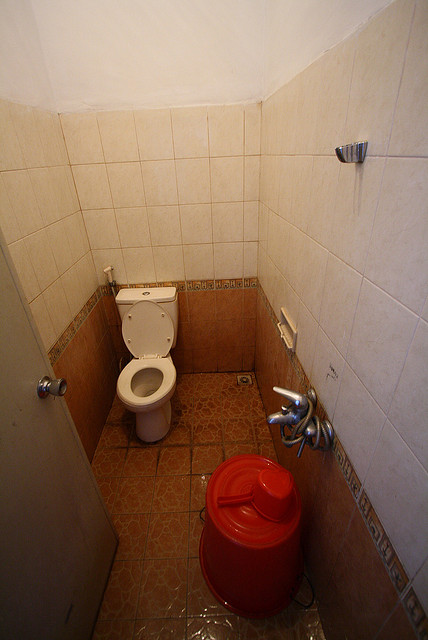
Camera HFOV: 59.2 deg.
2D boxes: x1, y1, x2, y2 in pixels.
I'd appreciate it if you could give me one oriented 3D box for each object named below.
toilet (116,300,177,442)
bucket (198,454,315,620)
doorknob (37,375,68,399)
[{"bbox_3d":[-0.372,0.345,2.127,0.323,0.712,0.520,-6,29,-8],"label":"toilet"},{"bbox_3d":[0.120,0.724,1.428,0.305,0.597,0.566,-5,32,-2],"label":"bucket"},{"bbox_3d":[-0.449,0.195,1.049,0.048,0.076,0.056,-3,-15,26],"label":"doorknob"}]
